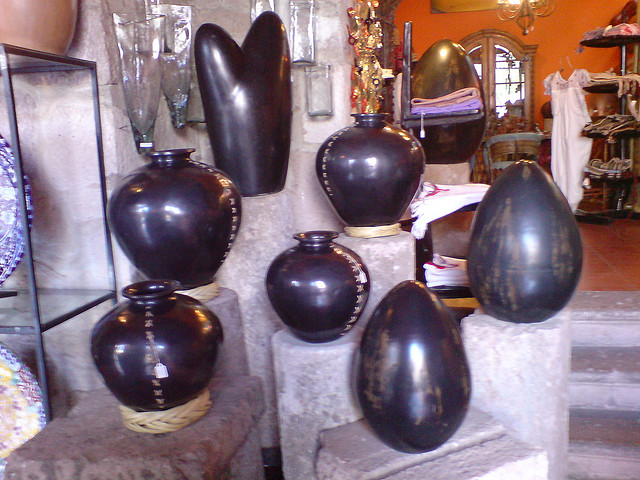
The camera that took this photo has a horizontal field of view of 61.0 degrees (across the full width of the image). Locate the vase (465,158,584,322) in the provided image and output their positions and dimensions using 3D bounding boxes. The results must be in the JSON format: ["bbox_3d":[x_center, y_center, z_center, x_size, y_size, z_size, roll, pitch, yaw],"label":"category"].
[{"bbox_3d":[0.565,0.012,1.502,0.296,0.446,0.188,8,20,27],"label":"vase"}]

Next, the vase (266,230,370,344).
[{"bbox_3d":[-0.003,0.106,1.469,0.329,0.295,0.303,1,4,-6],"label":"vase"}]

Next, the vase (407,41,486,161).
[{"bbox_3d":[0.543,-0.634,2.463,0.428,0.513,0.414,12,30,31],"label":"vase"}]

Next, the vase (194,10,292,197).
[{"bbox_3d":[-0.219,-0.402,1.628,0.275,0.546,0.133,-5,19,-12],"label":"vase"}]

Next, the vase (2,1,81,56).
[{"bbox_3d":[-0.682,-0.532,1.403,0.181,0.155,0.159,3,25,4],"label":"vase"}]

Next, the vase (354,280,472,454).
[{"bbox_3d":[0.216,0.310,1.280,0.201,0.399,0.224,-16,22,-38],"label":"vase"}]

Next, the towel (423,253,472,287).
[{"bbox_3d":[0.467,0.114,1.965,0.147,0.043,0.141,-5,7,-45],"label":"towel"}]

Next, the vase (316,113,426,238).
[{"bbox_3d":[0.179,-0.215,1.809,0.418,0.374,0.360,-3,10,-3],"label":"vase"}]

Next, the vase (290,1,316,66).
[{"bbox_3d":[-0.060,-0.736,1.910,0.086,0.203,0.049,-3,18,-3],"label":"vase"}]

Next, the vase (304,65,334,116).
[{"bbox_3d":[-0.001,-0.545,1.990,0.093,0.175,0.077,-3,18,-4],"label":"vase"}]

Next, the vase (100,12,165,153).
[{"bbox_3d":[-0.487,-0.441,1.522,0.133,0.366,0.053,-5,19,-11],"label":"vase"}]

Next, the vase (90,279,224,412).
[{"bbox_3d":[-0.410,0.268,1.321,0.348,0.299,0.306,-4,8,-12],"label":"vase"}]

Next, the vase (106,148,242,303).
[{"bbox_3d":[-0.416,-0.031,1.512,0.382,0.369,0.362,-5,6,16],"label":"vase"}]
